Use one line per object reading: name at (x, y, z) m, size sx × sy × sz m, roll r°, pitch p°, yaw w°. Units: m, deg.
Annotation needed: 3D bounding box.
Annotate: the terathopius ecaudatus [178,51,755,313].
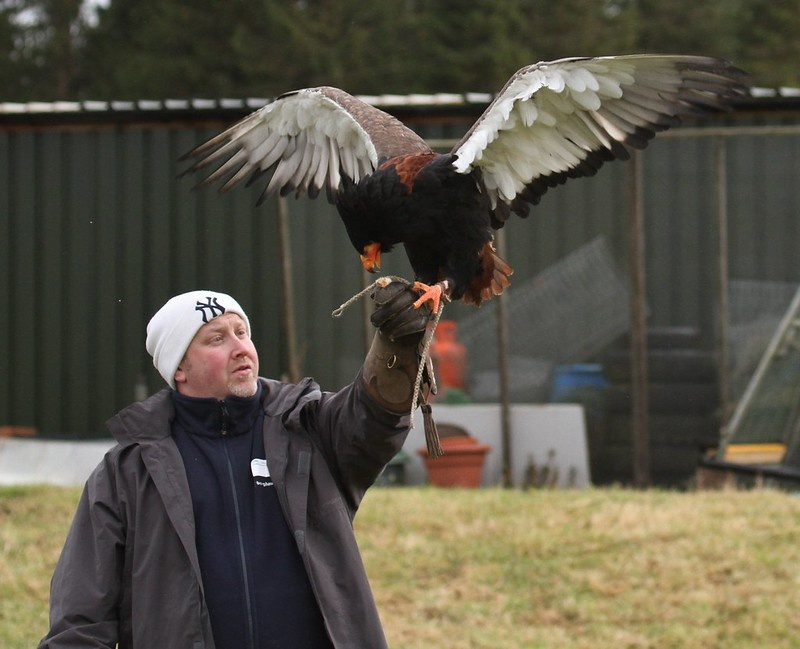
terathopius ecaudatus at (0.346, -0.956, 19.698) m, size 5.678 × 2.391 × 2.024 m, roll -2°, pitch -12°, yaw 27°
